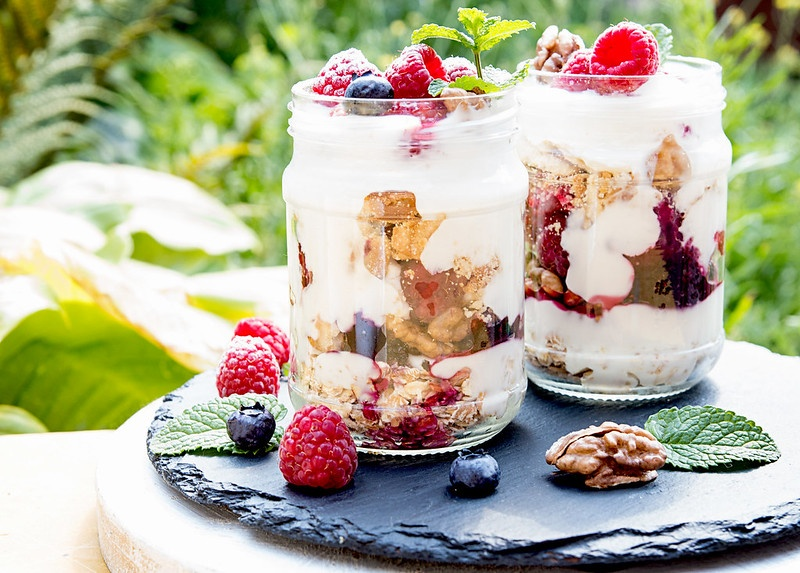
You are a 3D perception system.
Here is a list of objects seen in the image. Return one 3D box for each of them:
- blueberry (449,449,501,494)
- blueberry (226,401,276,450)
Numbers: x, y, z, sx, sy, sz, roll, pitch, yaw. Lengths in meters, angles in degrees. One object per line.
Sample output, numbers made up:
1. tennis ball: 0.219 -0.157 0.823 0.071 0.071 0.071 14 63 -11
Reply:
1. blueberry: 0.125 0.306 1.454 0.074 0.061 0.070 -2 0 -32
2. blueberry: -0.270 0.255 1.564 0.060 0.078 0.074 16 28 39
